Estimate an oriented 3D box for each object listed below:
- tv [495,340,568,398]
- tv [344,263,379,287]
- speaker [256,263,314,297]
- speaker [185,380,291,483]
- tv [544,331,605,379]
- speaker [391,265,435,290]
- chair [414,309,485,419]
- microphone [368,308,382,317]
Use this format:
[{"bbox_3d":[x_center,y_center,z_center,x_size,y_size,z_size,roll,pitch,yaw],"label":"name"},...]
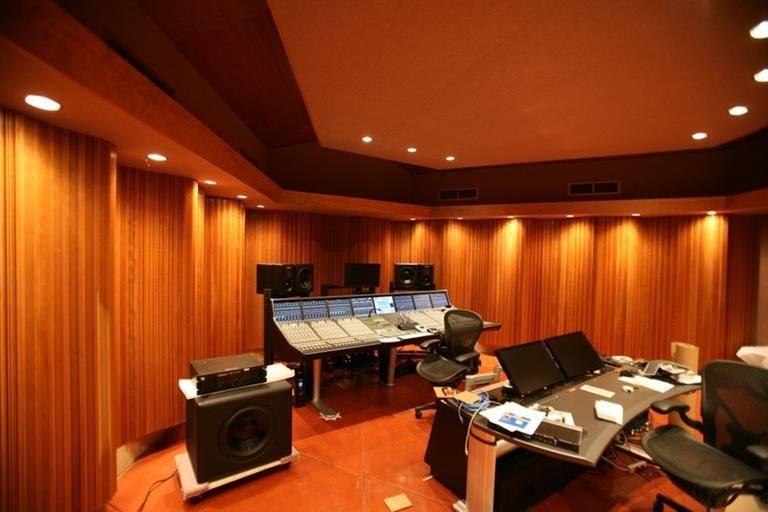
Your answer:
[{"bbox_3d":[1.341,1.083,4.631,0.727,0.471,0.145,-13,-21,-29],"label":"tv"},{"bbox_3d":[-0.356,0.286,7.368,0.384,0.242,0.093,1,6,-7],"label":"tv"},{"bbox_3d":[-1.258,0.298,6.064,0.445,0.381,0.616,-1,-2,39],"label":"speaker"},{"bbox_3d":[-1.408,1.579,4.847,1.178,0.915,0.838,2,-8,-35],"label":"speaker"},{"bbox_3d":[1.890,1.046,5.017,0.703,0.433,0.134,-8,-28,-25],"label":"tv"},{"bbox_3d":[0.424,0.305,7.091,0.678,0.430,0.351,1,-2,1],"label":"speaker"},{"bbox_3d":[0.698,1.197,5.464,0.738,1.052,0.760,-13,16,-35],"label":"chair"},{"bbox_3d":[-0.148,0.728,6.288,0.081,0.096,0.202,-4,-1,31],"label":"microphone"}]
